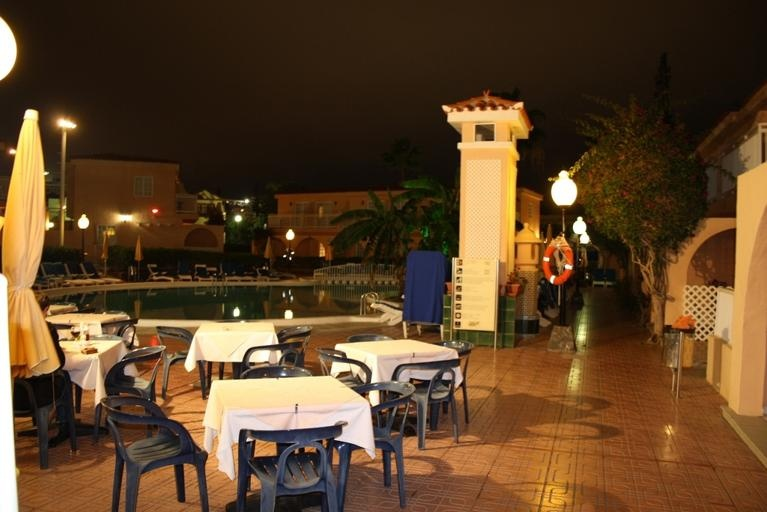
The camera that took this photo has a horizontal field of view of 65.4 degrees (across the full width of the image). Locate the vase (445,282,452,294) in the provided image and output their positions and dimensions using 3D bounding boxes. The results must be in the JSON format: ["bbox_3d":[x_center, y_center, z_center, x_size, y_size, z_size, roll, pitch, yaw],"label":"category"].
[{"bbox_3d":[1.757,0.848,16.099,0.295,0.338,0.226,0,-2,2],"label":"vase"}]

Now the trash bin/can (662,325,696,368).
[{"bbox_3d":[6.528,2.003,13.246,0.615,0.854,0.593,-2,3,-33],"label":"trash bin/can"}]

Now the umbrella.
[{"bbox_3d":[-4.541,-0.206,7.621,0.599,3.492,0.525,-1,-1,-35],"label":"umbrella"}]

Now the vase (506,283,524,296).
[{"bbox_3d":[3.450,0.867,15.714,0.352,0.282,0.373,0,4,-6],"label":"vase"}]
